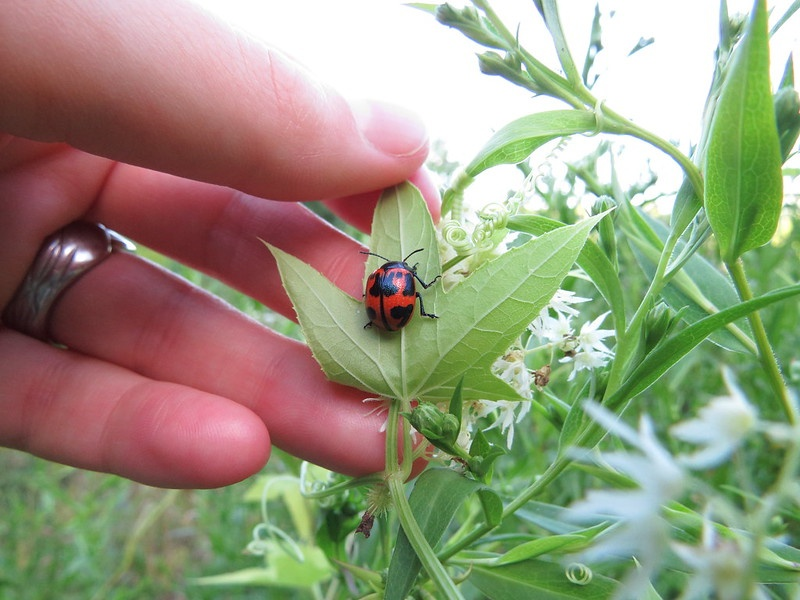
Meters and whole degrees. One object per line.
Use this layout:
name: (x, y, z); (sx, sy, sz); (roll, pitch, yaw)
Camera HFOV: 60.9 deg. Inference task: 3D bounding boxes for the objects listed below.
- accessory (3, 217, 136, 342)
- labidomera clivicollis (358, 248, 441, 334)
accessory: (-0.810, -0.067, 1.706); (0.282, 0.214, 0.146); (-44, 19, -2)
labidomera clivicollis: (-0.012, -0.031, 1.205); (0.147, 0.190, 0.057); (-17, -42, 13)
